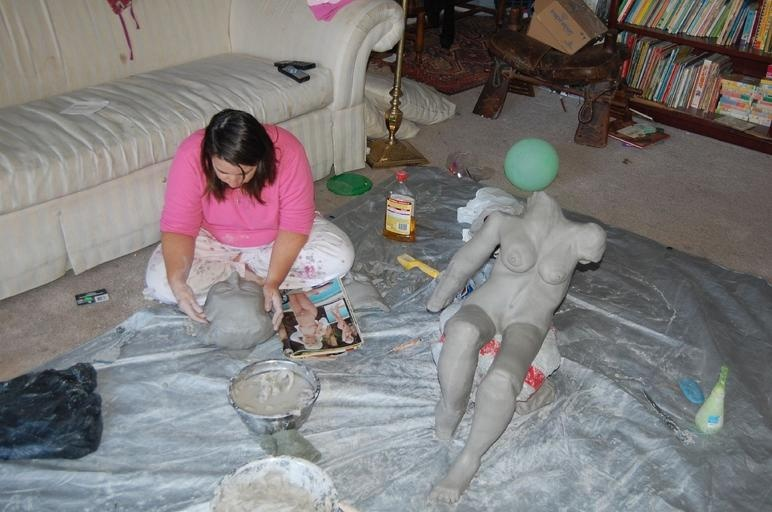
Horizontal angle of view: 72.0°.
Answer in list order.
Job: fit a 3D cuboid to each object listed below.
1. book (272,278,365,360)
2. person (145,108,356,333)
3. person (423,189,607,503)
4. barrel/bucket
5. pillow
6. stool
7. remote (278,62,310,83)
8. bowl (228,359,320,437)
[{"bbox_3d":[-0.285,0.290,2.319,0.415,0.085,0.406,16,49,-11],"label":"book"},{"bbox_3d":[-0.607,-0.171,2.397,0.975,0.881,0.927,-6,69,-12],"label":"person"},{"bbox_3d":[0.475,0.287,2.159,0.594,0.378,1.173,14,84,21],"label":"person"},{"bbox_3d":[-0.409,0.515,1.990,0.295,0.115,0.292,2,42,-2],"label":"barrel/bucket"},{"bbox_3d":[0.141,-1.057,3.737,0.608,0.183,0.565,34,46,26],"label":"pillow"},{"bbox_3d":[1.278,-1.224,3.875,1.049,0.673,0.497,25,57,23],"label":"stool"},{"bbox_3d":[-0.535,-1.072,3.081,0.196,0.046,0.096,35,49,27],"label":"remote"},{"bbox_3d":[-0.412,0.540,2.003,0.294,0.108,0.289,5,34,-3],"label":"bowl"}]
